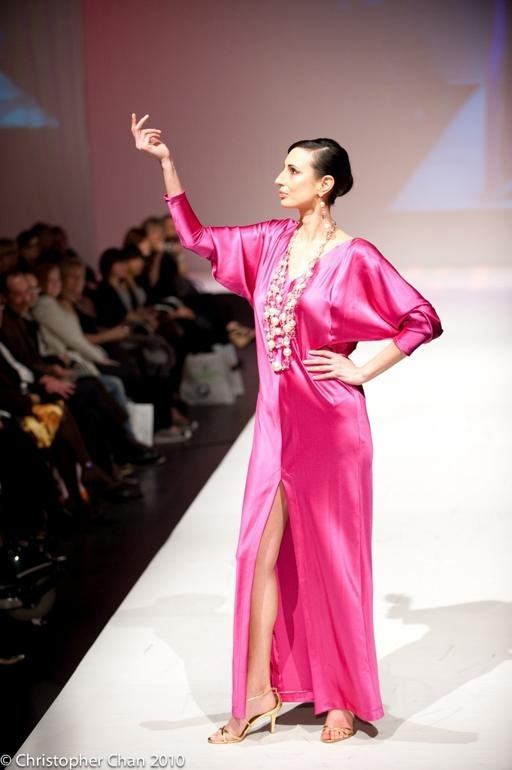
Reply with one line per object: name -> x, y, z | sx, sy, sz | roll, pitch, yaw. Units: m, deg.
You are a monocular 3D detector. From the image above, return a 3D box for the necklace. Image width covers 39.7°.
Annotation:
necklace -> 0.082, -0.171, 1.401 | 0.122, 0.295, 0.089 | 3, 8, 27

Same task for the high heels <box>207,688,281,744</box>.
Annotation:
high heels -> -0.015, 0.690, 1.519 | 0.202, 0.088, 0.066 | -5, 4, -25

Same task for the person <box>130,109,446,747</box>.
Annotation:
person -> 0.069, 0.102, 1.467 | 0.595, 1.295, 0.291 | 1, 8, 14

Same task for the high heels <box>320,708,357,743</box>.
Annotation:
high heels -> 0.168, 0.708, 1.459 | 0.037, 0.033, 0.091 | -6, -14, 14
